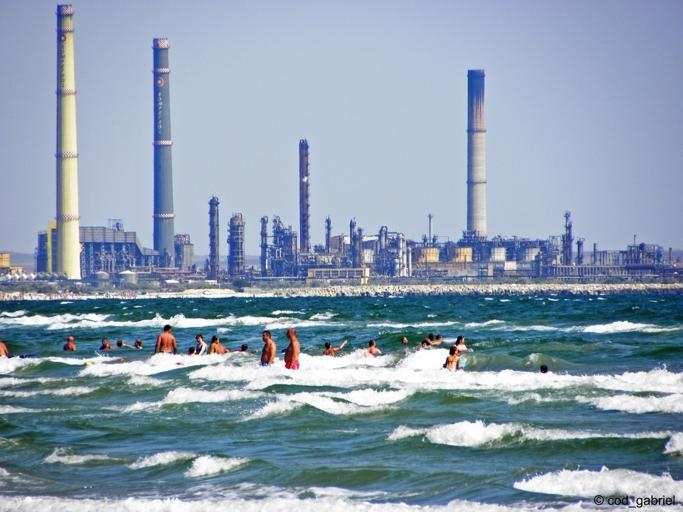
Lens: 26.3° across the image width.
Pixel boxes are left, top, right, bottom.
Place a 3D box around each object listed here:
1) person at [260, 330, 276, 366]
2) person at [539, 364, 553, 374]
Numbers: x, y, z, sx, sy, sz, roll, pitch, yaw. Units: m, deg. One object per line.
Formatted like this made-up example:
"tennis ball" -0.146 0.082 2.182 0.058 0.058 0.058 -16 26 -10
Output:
"person" -3.256 3.868 61.758 0.652 1.463 1.526 -2 10 -4
"person" 8.550 4.750 61.241 0.286 0.420 0.956 -3 -10 4
